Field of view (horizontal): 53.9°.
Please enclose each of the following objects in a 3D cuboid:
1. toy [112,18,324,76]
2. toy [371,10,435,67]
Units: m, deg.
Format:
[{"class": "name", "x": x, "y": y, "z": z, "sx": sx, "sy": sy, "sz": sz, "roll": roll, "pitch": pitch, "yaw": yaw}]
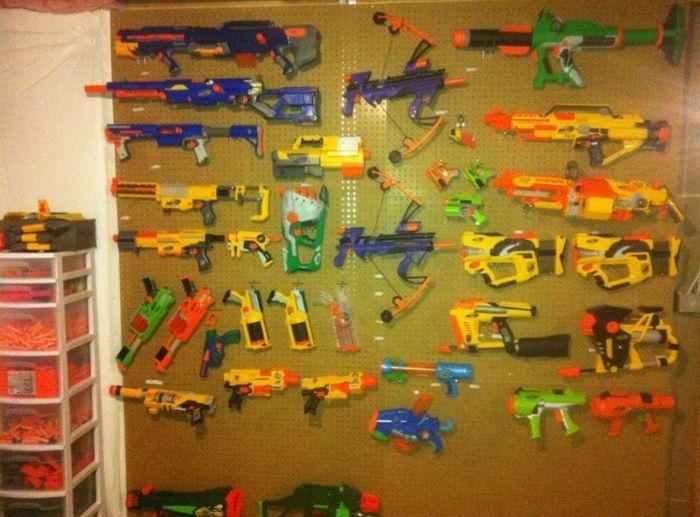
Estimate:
[{"class": "toy", "x": -0.765, "y": -1.299, "z": 4.300, "sx": 1.481, "sy": 0.457, "sz": 0.425, "roll": 0, "pitch": 3, "yaw": 5}, {"class": "toy", "x": 0.327, "y": -1.341, "z": 4.151, "sx": 0.360, "sy": 0.315, "sz": 0.105, "roll": 24, "pitch": 9, "yaw": 4}]
